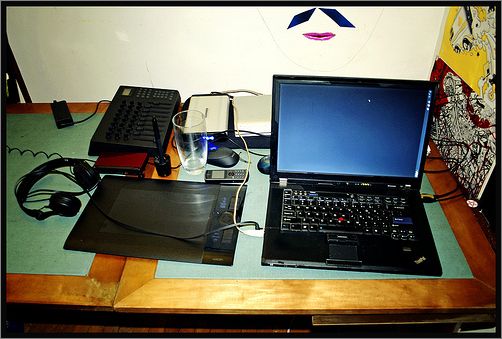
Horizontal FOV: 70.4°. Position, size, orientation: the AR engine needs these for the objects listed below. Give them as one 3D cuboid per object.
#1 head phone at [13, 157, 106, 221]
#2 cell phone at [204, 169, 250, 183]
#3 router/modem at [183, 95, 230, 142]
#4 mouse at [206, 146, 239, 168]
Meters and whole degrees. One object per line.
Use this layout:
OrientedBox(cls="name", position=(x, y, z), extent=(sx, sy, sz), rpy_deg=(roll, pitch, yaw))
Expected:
OrientedBox(cls="head phone", position=(-0.680, 0.084, 1.338), extent=(0.085, 0.216, 0.237), rpy_deg=(40, -33, -29))
OrientedBox(cls="cell phone", position=(-0.096, 0.023, 1.351), extent=(0.144, 0.055, 0.027), rpy_deg=(0, -39, 3))
OrientedBox(cls="router/modem", position=(-0.207, -0.257, 1.530), extent=(0.057, 0.194, 0.290), rpy_deg=(31, 27, 25))
OrientedBox(cls="mouse", position=(-0.114, -0.056, 1.408), extent=(0.106, 0.073, 0.032), rpy_deg=(4, -37, 0))
